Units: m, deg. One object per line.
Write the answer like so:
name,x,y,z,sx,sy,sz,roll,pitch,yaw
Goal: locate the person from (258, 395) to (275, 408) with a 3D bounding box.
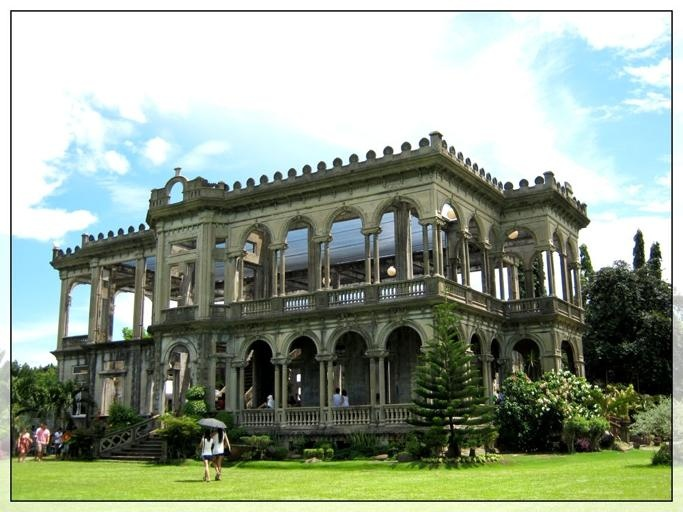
person,-4.124,7.989,35.298,0.571,0.985,0.659,-10,-25,33
